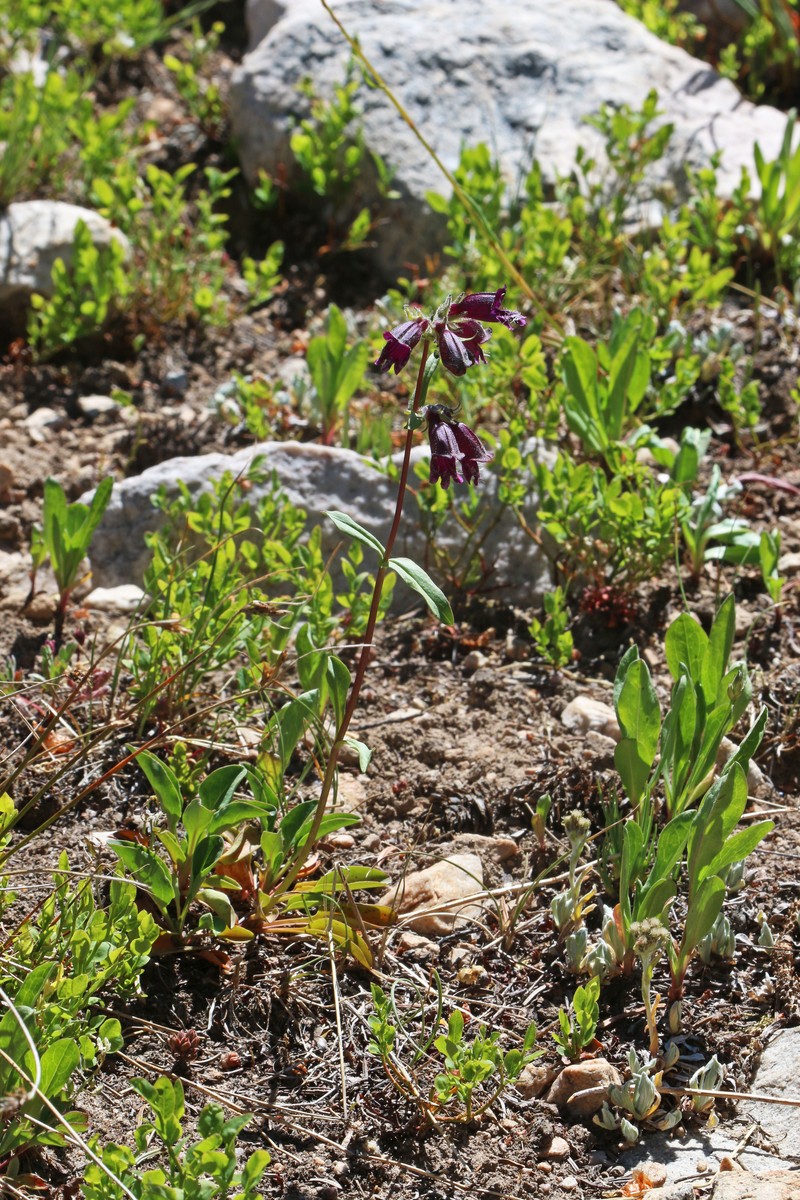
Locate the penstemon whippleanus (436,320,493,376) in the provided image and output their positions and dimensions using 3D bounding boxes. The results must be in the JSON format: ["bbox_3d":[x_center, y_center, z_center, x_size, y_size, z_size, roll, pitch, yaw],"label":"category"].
[{"bbox_3d":[0.103,-0.424,2.054,0.043,0.099,0.108,-19,-11,36],"label":"penstemon whippleanus"}]

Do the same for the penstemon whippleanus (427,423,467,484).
[{"bbox_3d":[0.079,-0.250,2.084,0.077,0.066,0.136,-4,41,-4],"label":"penstemon whippleanus"}]

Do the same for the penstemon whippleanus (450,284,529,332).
[{"bbox_3d":[0.143,-0.494,2.106,0.127,0.065,0.074,-3,-3,41],"label":"penstemon whippleanus"}]

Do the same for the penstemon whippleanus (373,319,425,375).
[{"bbox_3d":[0.009,-0.441,2.107,0.075,0.051,0.118,24,49,16],"label":"penstemon whippleanus"}]
